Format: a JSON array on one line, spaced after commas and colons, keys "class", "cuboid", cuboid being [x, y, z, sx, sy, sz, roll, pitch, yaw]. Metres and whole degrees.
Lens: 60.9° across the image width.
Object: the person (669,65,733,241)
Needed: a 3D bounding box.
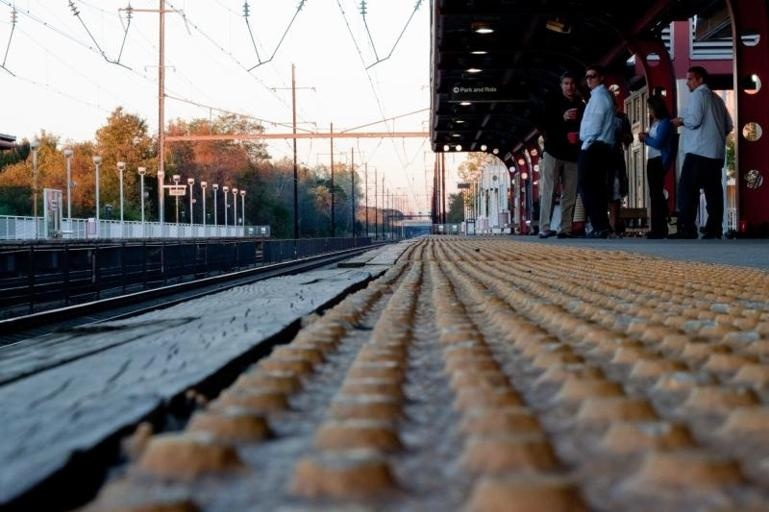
[{"class": "person", "cuboid": [5.247, -1.700, 10.858, 0.852, 2.919, 1.405, 0, 5, 29]}]
